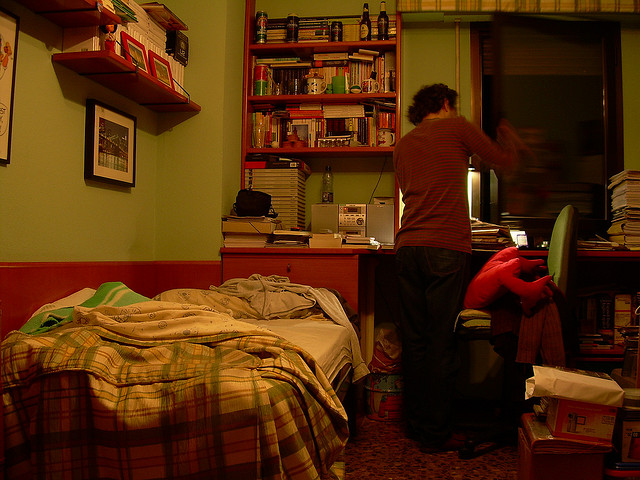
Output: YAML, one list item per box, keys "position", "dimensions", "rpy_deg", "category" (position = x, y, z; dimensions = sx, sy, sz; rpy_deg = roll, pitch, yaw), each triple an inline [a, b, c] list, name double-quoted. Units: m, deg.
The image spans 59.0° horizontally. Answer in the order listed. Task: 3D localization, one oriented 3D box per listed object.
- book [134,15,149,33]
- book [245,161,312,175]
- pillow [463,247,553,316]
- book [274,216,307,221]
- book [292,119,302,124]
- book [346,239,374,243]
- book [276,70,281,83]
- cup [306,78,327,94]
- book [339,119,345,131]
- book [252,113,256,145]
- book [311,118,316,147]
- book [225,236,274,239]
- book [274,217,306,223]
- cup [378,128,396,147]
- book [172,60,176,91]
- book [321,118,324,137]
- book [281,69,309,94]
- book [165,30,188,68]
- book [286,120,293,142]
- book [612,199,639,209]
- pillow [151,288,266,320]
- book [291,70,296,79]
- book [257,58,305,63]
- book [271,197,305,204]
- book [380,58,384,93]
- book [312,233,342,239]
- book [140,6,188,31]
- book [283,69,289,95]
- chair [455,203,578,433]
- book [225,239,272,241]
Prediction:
- position: [-0.943, -1.136, 2.997]
  dimensions: [0.014, 0.041, 0.059]
  rpy_deg: [18, -4, 17]
  category: "book"
- position: [-0.265, -0.485, 3.754]
  dimensions: [0.471, 0.069, 0.243]
  rpy_deg: [-1, 4, -19]
  category: "book"
- position: [0.888, 0.183, 2.688]
  dimensions: [0.325, 0.217, 0.288]
  rpy_deg: [0, 15, 11]
  category: "pillow"
- position: [-0.176, -0.145, 3.812]
  dimensions: [0.117, 0.041, 0.411]
  rpy_deg: [1, 4, 19]
  category: "book"
- position: [-0.158, -0.802, 3.836]
  dimensions: [0.064, 0.030, 0.012]
  rpy_deg: [0, 4, -4]
  category: "book"
- position: [0.231, 0.004, 3.303]
  dimensions: [0.159, 0.019, 0.039]
  rpy_deg: [0, 4, -4]
  category: "book"
- position: [-0.289, -1.120, 3.878]
  dimensions: [0.030, 0.087, 0.018]
  rpy_deg: [0, 4, -5]
  category: "book"
- position: [-0.023, -1.032, 3.801]
  dimensions: [0.133, 0.103, 0.088]
  rpy_deg: [3, 10, 14]
  category: "cup"
- position: [0.144, -0.771, 3.799]
  dimensions: [0.034, 0.077, 0.020]
  rpy_deg: [0, 4, 1]
  category: "book"
- position: [-0.453, -0.756, 3.848]
  dimensions: [0.023, 0.216, 0.055]
  rpy_deg: [0, 4, -7]
  category: "book"
- position: [-0.047, -0.727, 3.818]
  dimensions: [0.030, 0.190, 0.028]
  rpy_deg: [0, 4, 0]
  category: "book"
- position: [-0.426, -0.017, 3.415]
  dimensions: [0.284, 0.017, 0.036]
  rpy_deg: [0, 4, 4]
  category: "book"
- position: [-0.177, -0.135, 3.779]
  dimensions: [0.110, 0.039, 0.327]
  rpy_deg: [2, 5, 24]
  category: "book"
- position: [0.434, -0.675, 3.720]
  dimensions: [0.121, 0.132, 0.086]
  rpy_deg: [2, 5, 22]
  category: "cup"
- position: [-0.839, -0.954, 3.242]
  dimensions: [0.016, 0.158, 0.061]
  rpy_deg: [-1, 4, -15]
  category: "book"
- position: [0.014, -0.757, 3.809]
  dimensions: [0.018, 0.128, 0.031]
  rpy_deg: [0, 4, 2]
  category: "book"
- position: [-0.179, -1.080, 3.874]
  dimensions: [0.181, 0.169, 0.143]
  rpy_deg: [0, 8, -5]
  category: "book"
- position: [-0.861, -1.137, 3.345]
  dimensions: [0.090, 0.175, 0.174]
  rpy_deg: [4, 1, 12]
  category: "book"
- position: [-0.220, -0.765, 3.871]
  dimensions: [0.037, 0.112, 0.024]
  rpy_deg: [1, 4, 14]
  category: "book"
- position: [1.862, -0.224, 3.470]
  dimensions: [0.069, 0.051, 0.171]
  rpy_deg: [-1, 4, -15]
  category: "book"
- position: [-0.533, 0.300, 2.782]
  dimensions: [0.312, 0.082, 0.250]
  rpy_deg: [10, -11, 7]
  category: "pillow"
- position: [-0.186, -1.132, 3.876]
  dimensions: [0.030, 0.061, 0.012]
  rpy_deg: [0, 4, -4]
  category: "book"
- position: [-0.275, -1.228, 3.882]
  dimensions: [0.314, 0.037, 0.052]
  rpy_deg: [0, 4, 1]
  category: "book"
- position: [-0.184, -0.263, 3.750]
  dimensions: [0.131, 0.038, 0.280]
  rpy_deg: [3, 5, 37]
  category: "book"
- position: [0.415, -1.110, 3.811]
  dimensions: [0.025, 0.237, 0.066]
  rpy_deg: [0, 4, 5]
  category: "book"
- position: [0.036, -0.022, 3.329]
  dimensions: [0.166, 0.025, 0.040]
  rpy_deg: [0, 4, 2]
  category: "book"
- position: [-0.865, -1.228, 3.138]
  dimensions: [0.097, 0.069, 0.345]
  rpy_deg: [1, 4, 15]
  category: "book"
- position: [-0.237, -1.082, 3.870]
  dimensions: [0.039, 0.169, 0.029]
  rpy_deg: [0, 4, -3]
  category: "book"
- position: [0.987, 0.438, 3.154]
  dimensions: [0.559, 1.261, 1.160]
  rpy_deg: [0, 4, -1]
  category: "chair"
- position: [-0.427, -0.001, 3.404]
  dimensions: [0.265, 0.009, 0.030]
  rpy_deg: [0, 4, 1]
  category: "book"
